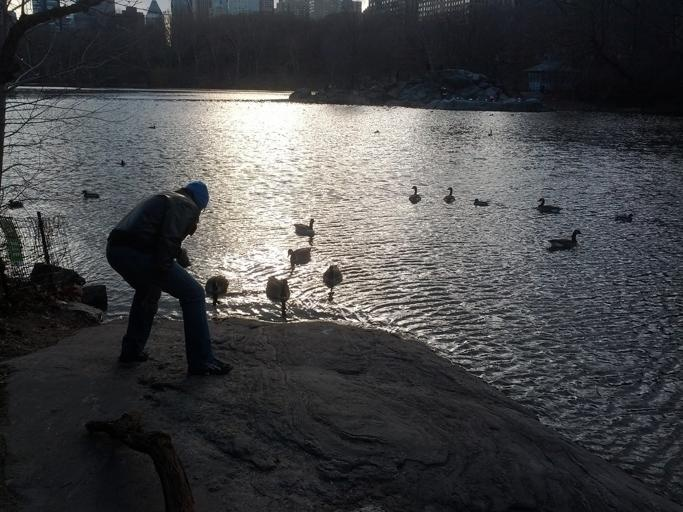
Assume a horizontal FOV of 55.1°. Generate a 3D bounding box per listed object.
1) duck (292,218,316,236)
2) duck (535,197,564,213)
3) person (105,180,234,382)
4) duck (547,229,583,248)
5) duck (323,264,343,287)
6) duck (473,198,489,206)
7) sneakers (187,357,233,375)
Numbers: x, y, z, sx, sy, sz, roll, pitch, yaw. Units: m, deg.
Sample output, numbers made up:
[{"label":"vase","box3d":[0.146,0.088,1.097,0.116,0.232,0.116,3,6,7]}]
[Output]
[{"label":"duck","box3d":[-1.041,-0.825,18.701,0.565,0.510,0.582,2,11,-2]},{"label":"duck","box3d":[7.206,-1.802,23.076,1.035,0.705,0.530,4,11,32]},{"label":"person","box3d":[-2.528,0.385,9.437,1.581,2.593,0.818,1,12,-9]},{"label":"duck","box3d":[6.332,-0.484,18.376,1.137,0.521,0.621,-5,13,-33]},{"label":"duck","box3d":[-0.204,0.435,14.568,0.396,0.575,0.478,2,11,-2]},{"label":"duck","box3d":[5.077,-1.940,23.469,0.232,0.307,0.697,15,16,35]},{"label":"sneakers","box3d":[-1.911,1.594,9.520,0.529,0.186,0.252,-2,8,-11]}]
